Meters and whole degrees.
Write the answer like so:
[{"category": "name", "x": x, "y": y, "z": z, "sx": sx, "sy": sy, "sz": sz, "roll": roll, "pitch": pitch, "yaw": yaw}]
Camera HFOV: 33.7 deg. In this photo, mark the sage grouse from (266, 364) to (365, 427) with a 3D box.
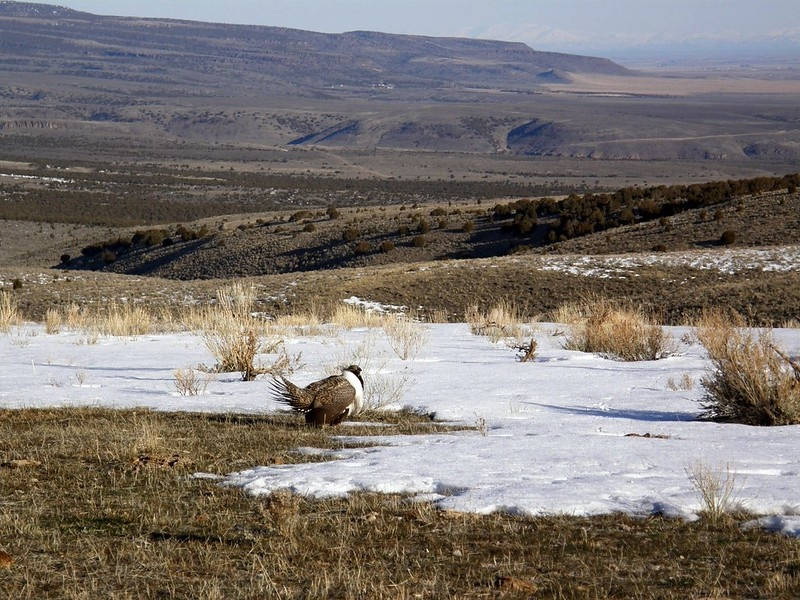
[{"category": "sage grouse", "x": -1.273, "y": 1.525, "z": 21.214, "sx": 1.493, "sy": 0.969, "sz": 0.785, "roll": -5, "pitch": 20, "yaw": -25}]
